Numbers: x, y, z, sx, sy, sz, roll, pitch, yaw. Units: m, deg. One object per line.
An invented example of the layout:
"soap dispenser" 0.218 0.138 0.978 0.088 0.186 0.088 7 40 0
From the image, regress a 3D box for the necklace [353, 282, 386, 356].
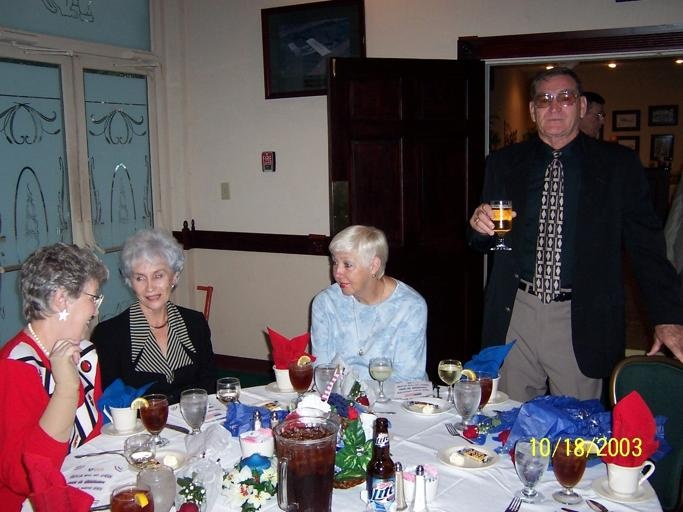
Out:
"necklace" 0.113 0.320 2.502 0.075 0.307 0.043 4 -13 10

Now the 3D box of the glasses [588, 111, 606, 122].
"glasses" 1.879 -1.045 3.845 0.120 0.040 0.122 3 13 -46

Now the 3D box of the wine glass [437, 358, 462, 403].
"wine glass" 0.443 0.521 2.135 0.121 0.205 0.129 3 12 15

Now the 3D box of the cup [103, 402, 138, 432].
"cup" -0.818 0.602 1.915 0.078 0.084 0.103 3 9 6

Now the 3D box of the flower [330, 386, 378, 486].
"flower" 0.020 0.554 1.595 0.203 0.258 0.182 2 -6 -10

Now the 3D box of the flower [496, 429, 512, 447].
"flower" 0.552 0.621 1.763 0.044 0.048 0.016 -34 -37 22

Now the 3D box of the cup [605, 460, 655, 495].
"cup" 0.861 0.660 1.544 0.129 0.100 0.095 -3 1 20

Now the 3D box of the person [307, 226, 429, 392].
"person" 0.129 0.264 2.576 0.556 0.845 0.530 4 13 18

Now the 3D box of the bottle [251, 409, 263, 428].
"bottle" -0.292 0.552 1.753 0.018 0.067 0.025 5 -21 -13

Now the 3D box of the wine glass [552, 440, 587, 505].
"wine glass" 0.673 0.609 1.527 0.085 0.199 0.169 2 8 27

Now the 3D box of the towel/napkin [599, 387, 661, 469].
"towel/napkin" 0.875 0.516 1.536 0.083 0.213 0.142 -23 17 -36

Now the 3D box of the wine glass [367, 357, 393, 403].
"wine glass" 0.161 0.496 2.111 0.102 0.174 0.100 -2 0 32

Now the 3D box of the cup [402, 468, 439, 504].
"cup" 0.231 0.644 1.509 0.097 0.094 0.119 -2 9 1

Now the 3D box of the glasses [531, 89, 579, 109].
"glasses" 1.006 -0.738 2.442 0.190 0.076 0.064 1 7 26

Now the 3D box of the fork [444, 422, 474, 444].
"fork" 0.421 0.632 1.882 0.031 0.029 0.189 -4 -1 -14

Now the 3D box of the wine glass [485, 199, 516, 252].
"wine glass" 0.788 -0.145 2.538 0.113 0.256 0.296 0 7 18

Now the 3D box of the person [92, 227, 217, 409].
"person" -0.904 0.359 2.505 0.566 0.900 0.443 -9 11 -35

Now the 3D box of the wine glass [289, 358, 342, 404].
"wine glass" -0.122 0.465 1.949 0.173 0.133 0.185 1 -12 2

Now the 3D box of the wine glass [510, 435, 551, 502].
"wine glass" 0.559 0.612 1.533 0.090 0.193 0.112 0 7 19
